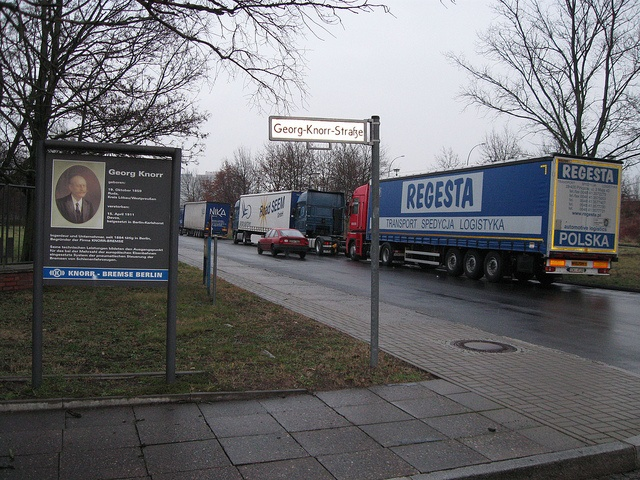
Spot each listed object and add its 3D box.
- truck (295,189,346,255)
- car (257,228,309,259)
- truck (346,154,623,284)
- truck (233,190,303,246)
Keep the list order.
[{"bbox_3d":[0.149,-1.294,32.566,1.751,2.882,4.955,1,8,-15],"label":"truck"},{"bbox_3d":[-2.184,0.133,29.043,1.232,1.067,2.857,0,5,-19],"label":"car"},{"bbox_3d":[5.199,-0.948,25.838,4.291,5.982,20.030,2,4,-18],"label":"truck"},{"bbox_3d":[-3.165,-1.939,39.065,2.340,4.310,9.483,0,-2,-21],"label":"truck"}]
